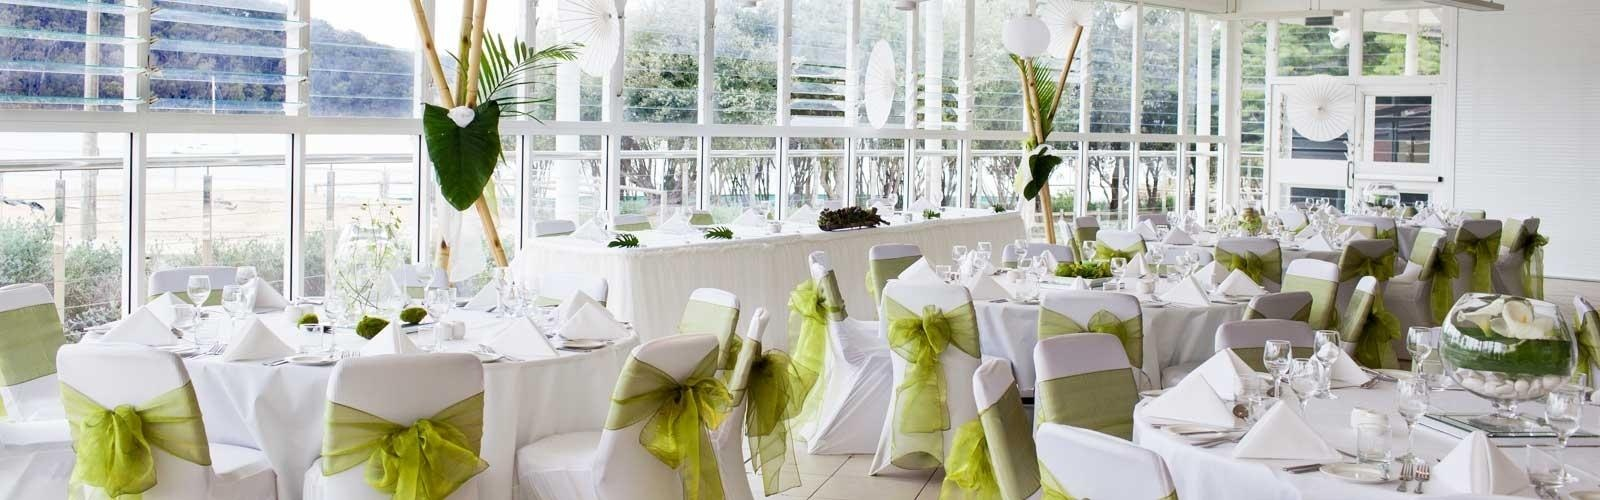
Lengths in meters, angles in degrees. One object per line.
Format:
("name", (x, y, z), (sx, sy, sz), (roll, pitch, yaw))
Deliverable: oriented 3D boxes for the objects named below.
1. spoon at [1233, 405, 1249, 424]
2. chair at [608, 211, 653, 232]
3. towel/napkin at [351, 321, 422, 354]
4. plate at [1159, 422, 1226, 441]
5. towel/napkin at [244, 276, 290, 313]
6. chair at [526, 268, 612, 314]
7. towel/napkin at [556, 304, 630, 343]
("spoon", (5.514, 2.062, 10.616), (0.155, 0.160, 0.262), (-7, -14, 29))
("chair", (-3.010, -0.477, 14.932), (0.608, 0.310, 0.397), (-1, -1, -36))
("towel/napkin", (-5.354, 1.188, 11.079), (0.599, 0.219, 0.649), (5, 6, 42))
("plate", (4.882, 2.263, 10.482), (0.973, 0.093, 0.209), (5, 45, -1))
("towel/napkin", (-7.552, 0.600, 12.127), (0.432, 0.461, 0.518), (-5, 48, -43))
("chair", (-3.326, 0.564, 12.301), (0.845, 0.687, 0.685), (1, -4, 7))
("towel/napkin", (-2.803, 1.024, 11.640), (0.790, 0.262, 0.677), (-1, -1, -1))
